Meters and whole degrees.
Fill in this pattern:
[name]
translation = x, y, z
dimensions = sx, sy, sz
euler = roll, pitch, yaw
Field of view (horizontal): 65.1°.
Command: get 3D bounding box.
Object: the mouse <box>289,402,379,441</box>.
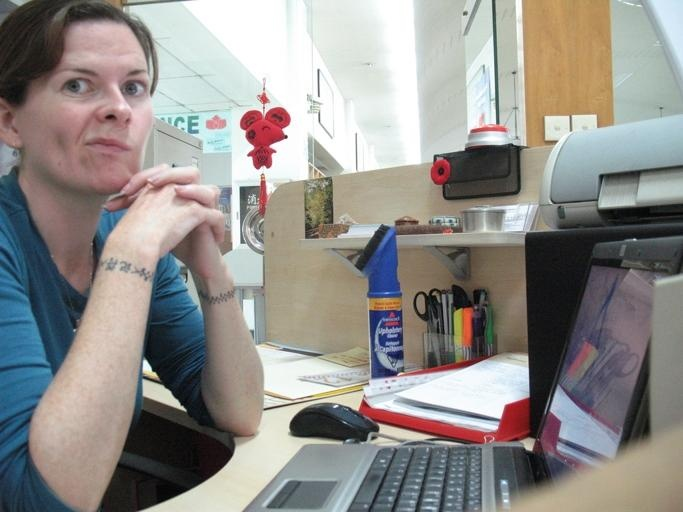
[mouse]
translation = -0.016, 0.284, 0.911
dimensions = 0.121, 0.044, 0.065
euler = -1, -4, 13

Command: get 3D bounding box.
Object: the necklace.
[necklace]
translation = -0.496, 0.055, 1.007
dimensions = 0.053, 0.157, 0.109
euler = 9, 3, 34
